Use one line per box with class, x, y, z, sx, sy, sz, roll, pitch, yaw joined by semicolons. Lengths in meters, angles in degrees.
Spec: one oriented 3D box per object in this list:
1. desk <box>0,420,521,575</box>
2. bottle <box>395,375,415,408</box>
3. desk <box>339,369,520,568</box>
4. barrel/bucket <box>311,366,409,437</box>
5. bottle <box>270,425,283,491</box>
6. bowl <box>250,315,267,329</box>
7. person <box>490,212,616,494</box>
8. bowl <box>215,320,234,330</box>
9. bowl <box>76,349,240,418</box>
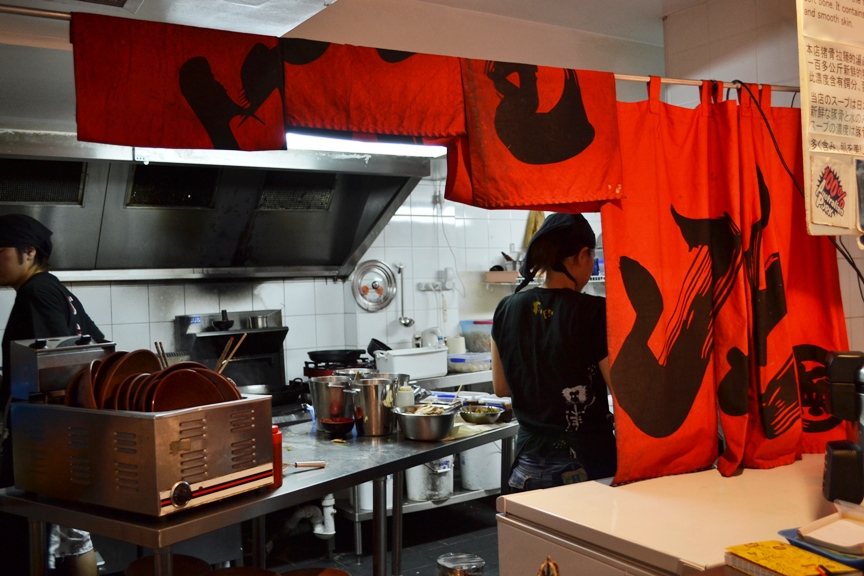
desk;-0.672;0.895;2.876;2.008;0.334;0.747;-6;7;-32
bottle;-0.144;0.536;3.517;0.107;0.117;0.169;0;-4;-1
desk;-0.038;1.034;3.764;1.370;0.983;0.700;-3;4;-40
barrel/bucket;-0.374;0.567;3.328;0.329;0.186;0.374;-2;-3;8
bottle;-0.620;0.655;2.672;0.031;0.239;0.120;-3;5;-7
bowl;-1.315;0.245;5.067;0.108;0.082;0.109;-2;0;0
person;0.511;0.288;2.888;0.524;1.221;0.507;-2;5;11
bowl;-1.504;0.259;4.879;0.119;0.071;0.134;-1;6;14
bowl;-1.079;0.367;2.595;0.345;0.134;0.323;3;-1;0
